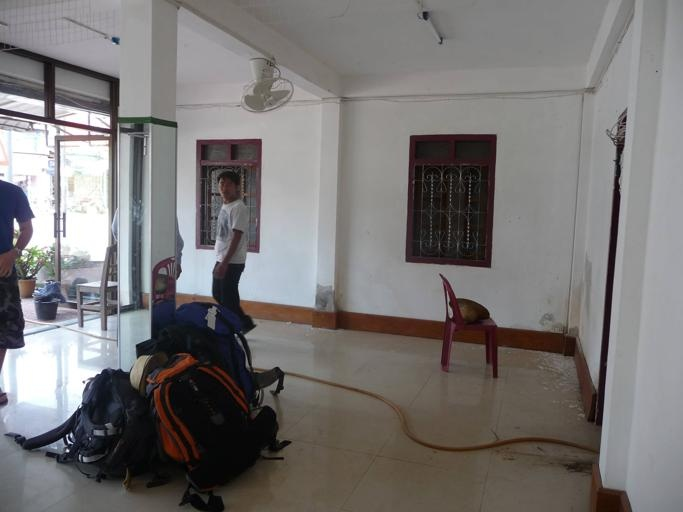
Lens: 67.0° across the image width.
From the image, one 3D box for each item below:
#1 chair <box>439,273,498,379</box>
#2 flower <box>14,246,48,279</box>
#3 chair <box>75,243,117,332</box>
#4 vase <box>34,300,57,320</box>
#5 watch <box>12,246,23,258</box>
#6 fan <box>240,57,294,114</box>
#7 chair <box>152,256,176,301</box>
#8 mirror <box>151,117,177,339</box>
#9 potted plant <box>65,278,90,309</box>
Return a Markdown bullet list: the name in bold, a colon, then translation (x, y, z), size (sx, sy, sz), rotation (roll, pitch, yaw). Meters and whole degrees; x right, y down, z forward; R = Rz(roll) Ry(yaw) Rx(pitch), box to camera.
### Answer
- **chair**: translation (1.312, 0.676, 5.270), size (0.655, 0.966, 0.630), rotation (4, 5, 28)
- **flower**: translation (-4.252, 0.109, 7.132), size (0.428, 0.481, 0.453), rotation (4, -3, -33)
- **chair**: translation (-2.834, 0.304, 6.194), size (0.495, 0.927, 0.492), rotation (2, 3, -7)
- **vase**: translation (-3.722, 0.675, 6.552), size (0.224, 0.211, 0.266), rotation (0, -3, -2)
- **watch**: translation (-2.567, -0.035, 4.127), size (0.063, 0.078, 0.039), rotation (-4, 6, -42)
- **fan**: translation (-0.722, -1.640, 5.070), size (0.413, 0.491, 1.035), rotation (0, 10, -8)
- **chair**: translation (-1.392, 0.157, 3.992), size (0.252, 0.360, 0.263), rotation (2, -2, -29)
- **mirror**: translation (-1.332, -0.263, 3.910), size (0.305, 1.569, 0.031), rotation (0, 0, 29)
- **potted plant**: translation (-3.456, 0.504, 6.798), size (0.256, 0.376, 0.378), rotation (4, 2, -10)
